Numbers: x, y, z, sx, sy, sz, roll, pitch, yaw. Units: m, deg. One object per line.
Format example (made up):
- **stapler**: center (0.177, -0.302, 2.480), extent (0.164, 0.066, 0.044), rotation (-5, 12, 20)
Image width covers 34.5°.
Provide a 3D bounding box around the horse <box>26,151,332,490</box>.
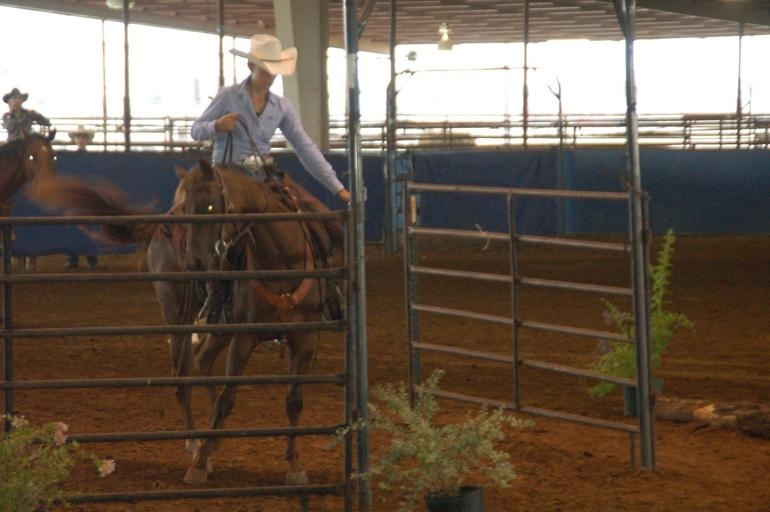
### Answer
- **horse**: center (-2.418, 0.764, 17.357), extent (3.697, 4.309, 2.500), rotation (1, 8, 11)
